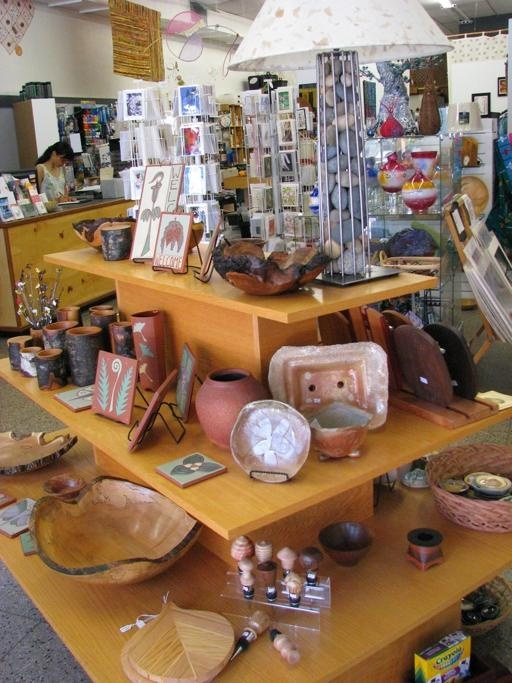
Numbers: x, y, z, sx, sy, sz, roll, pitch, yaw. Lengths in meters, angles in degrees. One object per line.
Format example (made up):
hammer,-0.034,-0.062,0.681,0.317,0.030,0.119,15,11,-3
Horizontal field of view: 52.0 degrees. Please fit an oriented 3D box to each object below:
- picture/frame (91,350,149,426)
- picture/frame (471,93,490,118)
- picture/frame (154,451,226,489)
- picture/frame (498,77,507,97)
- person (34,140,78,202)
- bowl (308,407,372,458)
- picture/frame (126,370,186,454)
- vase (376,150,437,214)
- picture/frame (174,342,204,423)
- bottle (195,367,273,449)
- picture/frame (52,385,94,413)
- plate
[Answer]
picture/frame,-0.378,0.136,1.460,0.163,0.163,0.102,15,20,37
picture/frame,3.140,-3.262,7.225,0.243,0.333,0.246,0,10,17
picture/frame,-0.134,0.266,1.083,0.114,0.015,0.126,-10,12,-35
picture/frame,3.377,-3.462,7.155,0.113,0.237,0.107,4,12,34
person,-2.581,-2.144,6.719,0.445,0.781,0.704,-6,10,-18
bowl,0.183,0.189,1.111,0.110,0.074,0.110,-4,8,1
picture/frame,-0.261,0.188,1.362,0.090,0.109,0.169,4,11,10
vase,1.033,-1.079,3.508,0.177,0.344,0.428,-11,22,-23
picture/frame,-0.181,0.117,1.421,0.073,0.164,0.185,0,14,-15
bottle,-0.055,0.149,1.199,0.166,0.138,0.182,-1,2,0
picture/frame,-0.541,0.174,1.595,0.082,0.011,0.089,-14,23,-40
plate,0.034,0.197,1.050,0.152,0.153,0.039,-5,-10,24
